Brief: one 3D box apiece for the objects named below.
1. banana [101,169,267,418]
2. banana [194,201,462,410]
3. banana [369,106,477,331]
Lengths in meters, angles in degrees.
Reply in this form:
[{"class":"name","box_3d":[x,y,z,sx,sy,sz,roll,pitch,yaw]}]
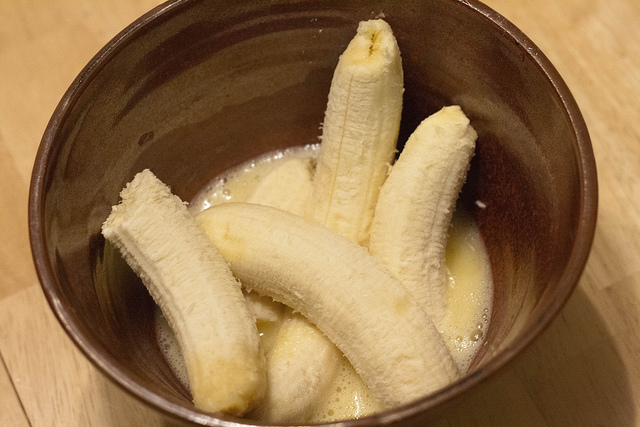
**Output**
[{"class":"banana","box_3d":[-0.177,0.123,0.881,0.105,0.363,0.211,-36,-40,27]},{"class":"banana","box_3d":[0.001,0.116,0.941,0.155,0.468,0.128,-31,-36,-40]},{"class":"banana","box_3d":[0.145,0.034,1.107,0.164,0.145,0.522,-6,-36,-3]}]
